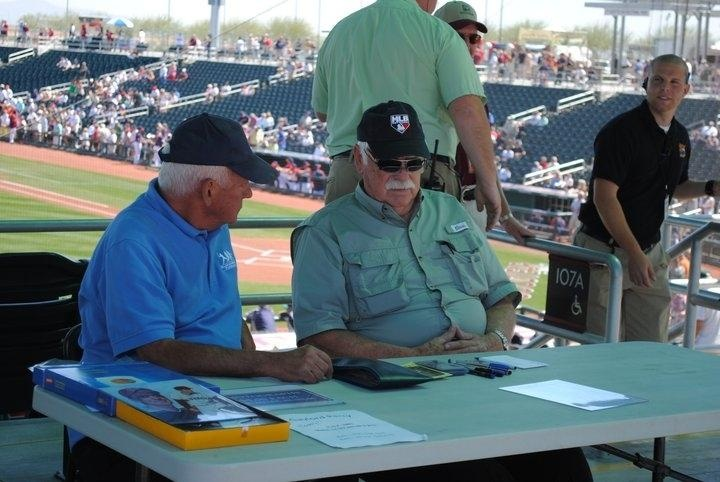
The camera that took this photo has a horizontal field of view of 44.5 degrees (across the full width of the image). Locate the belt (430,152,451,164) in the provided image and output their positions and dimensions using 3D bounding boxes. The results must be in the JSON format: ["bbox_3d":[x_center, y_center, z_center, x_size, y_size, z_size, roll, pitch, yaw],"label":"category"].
[{"bbox_3d":[0.366,-0.360,3.900,0.066,0.014,0.047,16,-12,-41],"label":"belt"}]

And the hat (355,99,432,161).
[{"bbox_3d":[0.141,-0.424,3.540,0.262,0.227,0.274,0,-6,2],"label":"hat"}]

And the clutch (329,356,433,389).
[{"bbox_3d":[0.057,0.407,2.731,0.345,0.063,0.635,1,-2,-3],"label":"clutch"}]

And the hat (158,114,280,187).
[{"bbox_3d":[-0.469,-0.294,2.930,0.412,0.186,0.214,0,17,-10],"label":"hat"}]

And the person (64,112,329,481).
[{"bbox_3d":[-0.642,0.197,3.084,0.933,1.150,0.917,1,-2,-23],"label":"person"}]

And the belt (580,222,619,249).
[{"bbox_3d":[1.209,-0.024,4.430,0.105,0.034,0.138,20,10,-29],"label":"belt"}]
